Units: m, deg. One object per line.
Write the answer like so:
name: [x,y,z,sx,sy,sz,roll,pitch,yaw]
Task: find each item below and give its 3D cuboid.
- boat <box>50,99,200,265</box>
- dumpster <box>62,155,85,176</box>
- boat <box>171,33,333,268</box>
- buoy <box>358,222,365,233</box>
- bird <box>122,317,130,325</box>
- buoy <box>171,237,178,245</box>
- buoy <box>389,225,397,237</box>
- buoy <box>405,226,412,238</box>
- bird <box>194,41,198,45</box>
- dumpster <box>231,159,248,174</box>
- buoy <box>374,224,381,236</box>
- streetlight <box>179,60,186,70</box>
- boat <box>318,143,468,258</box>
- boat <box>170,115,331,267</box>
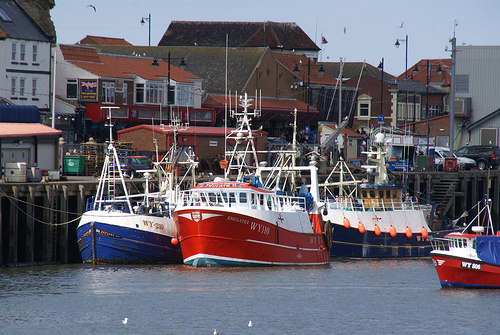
boat: [-6.428,2.816,85.453,5.647,7.557,11.816,2,3,21]
dumpster: [-11.514,-0.105,91.032,1.194,1.240,1.230,0,0,5]
boat: [0.372,1.339,83.449,5.203,9.744,12.032,-4,-6,39]
buoy: [6.816,3.775,85.367,0.381,0.534,0.527,-8,-27,-13]
bird: [-6.563,8.224,73.074,0.391,0.280,0.650,1,-1,3]
buoy: [-4.452,4.426,81.176,0.320,0.396,0.321,17,31,12]
buoy: [8.806,4.037,86.159,0.430,0.489,0.393,1,-1,5]
buoy: [9.823,4.147,86.551,0.361,0.468,0.370,1,-1,19]
bird: [-5.544,-12.688,141.272,0.132,0.410,0.406,-6,15,-45]
dumpster: [-0.812,-0.264,101.062,1.228,0.990,1.231,-1,-39,1]
buoy: [7.824,3.971,85.769,0.434,0.482,0.297,1,-1,-6]
streetlight: [-4.576,-6.895,93.834,0.665,0.829,0.691,-1,5,-7]
boat: [8.747,2.183,88.641,12.140,7.518,4.656,0,2,-34]
boat: [-0.133,1.781,85.586,6.324,9.832,24.821,1,0,7]
